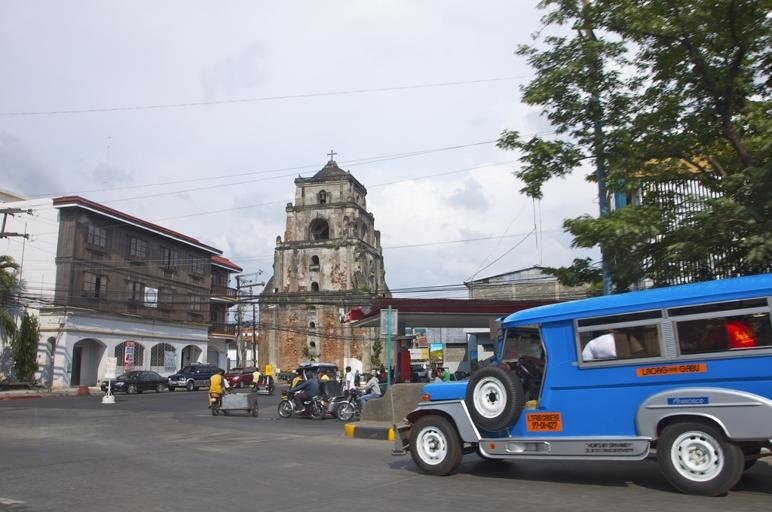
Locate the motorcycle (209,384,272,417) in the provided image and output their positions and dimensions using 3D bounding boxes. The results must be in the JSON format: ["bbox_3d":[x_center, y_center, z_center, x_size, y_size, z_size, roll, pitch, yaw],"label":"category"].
[{"bbox_3d":[-6.397,5.926,28.657,2.208,0.950,1.206,-2,-7,7],"label":"motorcycle"}]

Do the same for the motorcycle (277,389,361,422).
[{"bbox_3d":[-2.571,6.031,27.804,2.759,1.384,1.289,-1,-22,16],"label":"motorcycle"}]
